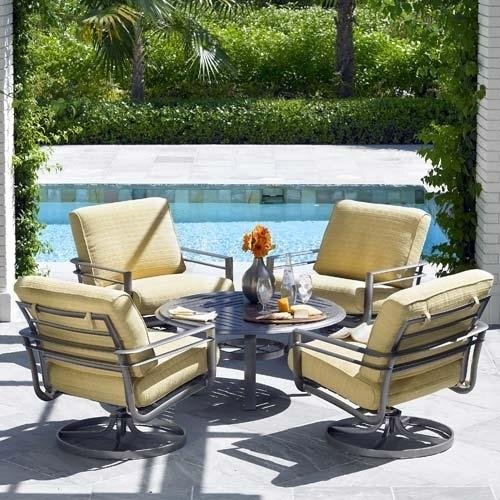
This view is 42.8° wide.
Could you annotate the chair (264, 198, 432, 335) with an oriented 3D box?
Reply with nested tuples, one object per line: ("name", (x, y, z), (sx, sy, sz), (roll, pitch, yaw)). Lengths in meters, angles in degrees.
("chair", (0.700, 0.189, 4.675), (1.072, 0.899, 1.023), (-3, 16, -16))

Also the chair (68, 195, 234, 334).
("chair", (-0.749, 0.142, 4.743), (1.191, 0.823, 1.109), (6, 17, 4))

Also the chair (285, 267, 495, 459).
("chair", (0.811, 0.511, 2.969), (0.867, 0.856, 0.974), (-4, 6, -40))

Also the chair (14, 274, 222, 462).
("chair", (-0.700, 0.498, 3.144), (0.826, 0.848, 0.959), (6, 7, 31))

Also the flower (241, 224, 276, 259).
("flower", (0.011, -0.057, 3.644), (0.218, 0.182, 0.189), (1, 20, 15))
